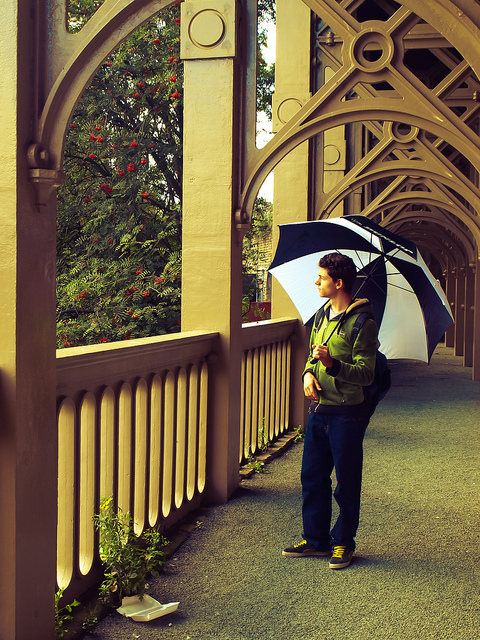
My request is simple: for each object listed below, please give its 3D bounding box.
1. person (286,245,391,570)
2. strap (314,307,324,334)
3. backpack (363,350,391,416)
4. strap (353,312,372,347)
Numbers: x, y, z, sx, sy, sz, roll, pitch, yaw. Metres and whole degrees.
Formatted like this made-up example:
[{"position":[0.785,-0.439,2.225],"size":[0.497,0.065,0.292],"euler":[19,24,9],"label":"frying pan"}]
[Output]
[{"position":[0.565,0.451,4.121],"size":[0.521,1.793,1.410],"euler":[2,2,5],"label":"person"},{"position":[0.433,-0.006,3.906],"size":[0.026,0.111,0.076],"euler":[9,-2,-10],"label":"strap"},{"position":[0.772,0.365,3.995],"size":[0.142,0.420,0.686],"euler":[2,2,11],"label":"backpack"},{"position":[0.627,0.043,3.654],"size":[0.087,0.113,0.039],"euler":[3,2,10],"label":"strap"}]
